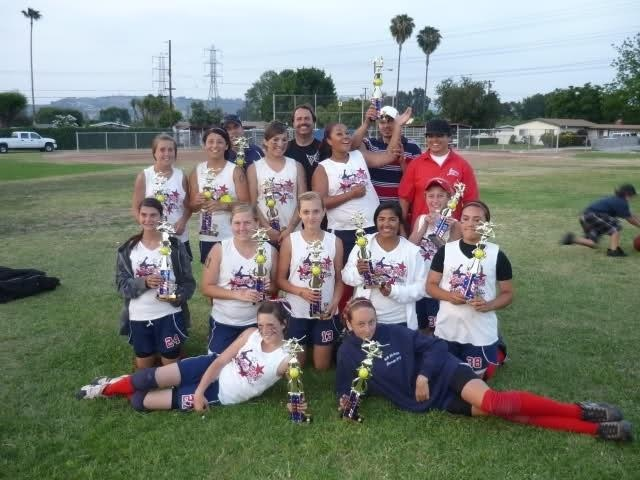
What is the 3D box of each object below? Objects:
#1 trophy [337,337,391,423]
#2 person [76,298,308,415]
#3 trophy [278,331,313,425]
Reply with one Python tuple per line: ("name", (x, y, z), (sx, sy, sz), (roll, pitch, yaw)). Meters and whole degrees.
("trophy", (0.386, 1.263, 5.139), (0.324, 0.689, 0.493), (4, 11, 25))
("person", (-1.032, 1.251, 5.141), (1.641, 1.152, 0.948), (0, 16, -27))
("trophy", (-0.228, 1.290, 5.045), (0.280, 0.775, 0.303), (-12, -19, 26))
